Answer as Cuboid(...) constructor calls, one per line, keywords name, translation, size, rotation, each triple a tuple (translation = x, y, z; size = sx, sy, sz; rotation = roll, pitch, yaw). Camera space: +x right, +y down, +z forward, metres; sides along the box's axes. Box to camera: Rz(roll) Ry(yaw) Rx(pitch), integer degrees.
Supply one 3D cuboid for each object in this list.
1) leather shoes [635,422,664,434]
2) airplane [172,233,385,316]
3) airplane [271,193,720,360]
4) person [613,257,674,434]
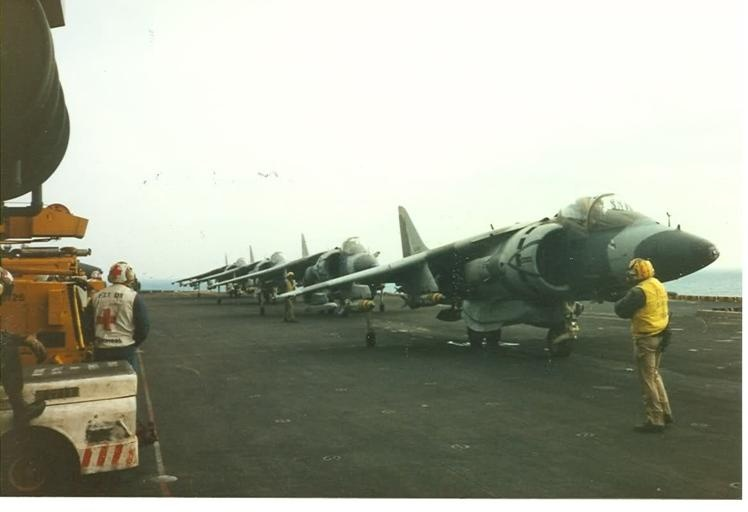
Cuboid(name="leather shoes", translation=(4.022, 2.493, 9.849), size=(0.402, 0.126, 0.225), rotation=(1, 7, 18))
Cuboid(name="airplane", translation=(-3.972, 1.309, 29.969), size=(5.304, 1.755, 4.922), rotation=(-3, -5, -37))
Cuboid(name="airplane", translation=(3.285, 0.253, 15.066), size=(5.721, 1.802, 5.172), rotation=(-6, 1, -30))
Cuboid(name="person", translation=(4.044, 1.289, 10.040), size=(0.742, 2.446, 0.730), rotation=(1, 7, 26))
